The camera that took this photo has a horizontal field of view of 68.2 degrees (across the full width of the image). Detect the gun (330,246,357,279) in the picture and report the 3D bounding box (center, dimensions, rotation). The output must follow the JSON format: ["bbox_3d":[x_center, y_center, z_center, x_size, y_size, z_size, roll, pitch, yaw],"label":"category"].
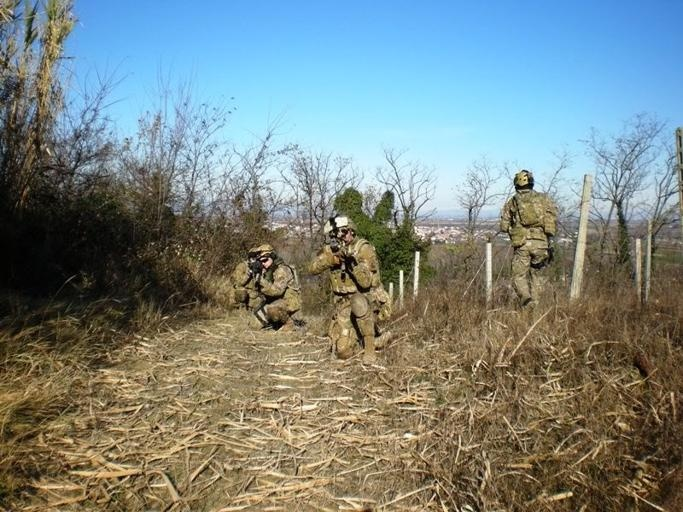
[{"bbox_3d":[0.050,0.078,7.209,0.160,0.470,0.300,-24,37,-32],"label":"gun"}]

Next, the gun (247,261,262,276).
[{"bbox_3d":[-1.509,0.198,8.986,0.235,0.261,0.186,0,3,-10],"label":"gun"}]

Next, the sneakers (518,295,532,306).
[{"bbox_3d":[3.177,0.773,8.689,0.227,0.162,0.195,2,4,28],"label":"sneakers"}]

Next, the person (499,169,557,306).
[{"bbox_3d":[3.291,-0.337,8.932,0.912,2.351,0.791,2,3,24],"label":"person"}]

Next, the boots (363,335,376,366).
[{"bbox_3d":[0.398,1.305,7.040,0.171,0.361,0.336,1,3,2],"label":"boots"}]

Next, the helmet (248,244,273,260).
[{"bbox_3d":[-1.407,-0.078,9.177,0.339,0.262,0.495,-1,3,26],"label":"helmet"}]
